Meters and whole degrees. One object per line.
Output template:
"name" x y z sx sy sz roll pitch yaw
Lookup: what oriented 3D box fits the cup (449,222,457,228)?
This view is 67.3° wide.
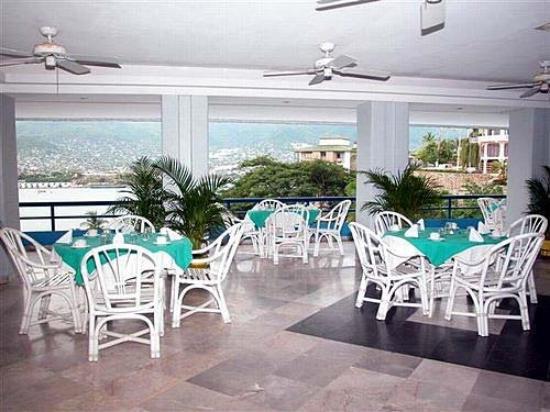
"cup" 2.207 0.237 5.099 0.085 0.037 0.095 -1 -4 11

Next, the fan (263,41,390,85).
"fan" 0.538 -1.763 5.321 1.234 0.395 1.222 12 19 37

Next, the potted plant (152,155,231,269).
"potted plant" -1.322 0.108 6.815 1.900 1.610 1.410 2 -2 -10

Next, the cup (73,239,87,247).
"cup" -2.027 0.385 4.292 0.134 0.081 0.096 -4 13 -32

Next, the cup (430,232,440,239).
"cup" 1.826 0.331 4.673 0.076 0.058 0.090 0 -4 6

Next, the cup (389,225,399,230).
"cup" 1.505 0.271 5.219 0.080 0.048 0.081 -1 -5 0

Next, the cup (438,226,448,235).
"cup" 2.015 0.301 4.895 0.108 0.096 0.143 -1 -2 0

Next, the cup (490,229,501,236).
"cup" 2.615 0.312 4.864 0.092 0.071 0.117 -2 -8 22

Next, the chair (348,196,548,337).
"chair" 2.227 0.493 4.470 1.609 0.638 1.572 -7 9 -44

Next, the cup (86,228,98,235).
"cup" -2.164 0.306 4.881 0.102 0.058 0.083 5 -8 -33
